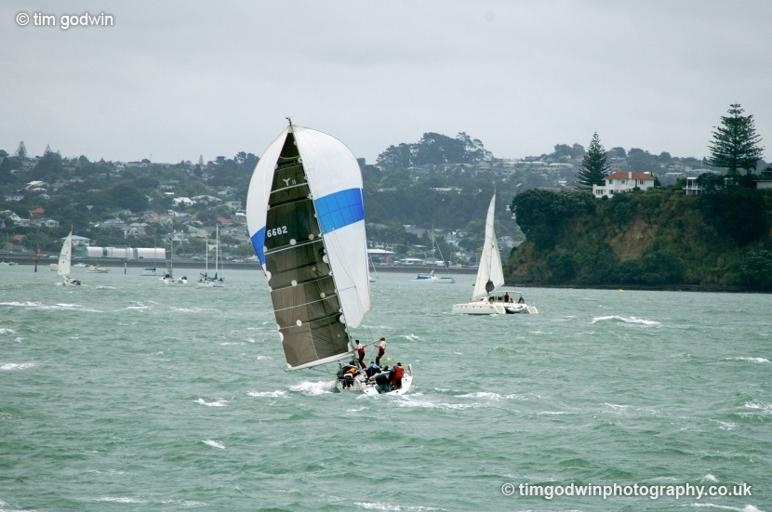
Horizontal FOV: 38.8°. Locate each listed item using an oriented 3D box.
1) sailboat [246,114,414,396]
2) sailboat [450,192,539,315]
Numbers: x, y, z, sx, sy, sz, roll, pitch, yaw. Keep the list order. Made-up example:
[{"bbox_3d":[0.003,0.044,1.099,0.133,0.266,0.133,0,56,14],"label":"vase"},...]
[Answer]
[{"bbox_3d":[-4.321,-0.492,63.019,6.231,13.842,2.316,1,11,-3],"label":"sailboat"},{"bbox_3d":[10.045,-0.020,101.407,4.738,11.273,5.335,-10,15,-44],"label":"sailboat"}]
